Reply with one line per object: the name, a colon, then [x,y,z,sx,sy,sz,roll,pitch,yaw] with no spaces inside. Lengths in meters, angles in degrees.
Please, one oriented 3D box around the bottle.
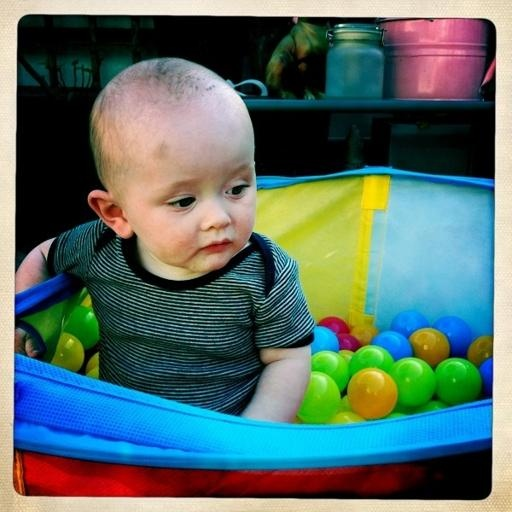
bottle: [0.196,-0.388,1.083,0.137,0.156,0.140,2,19,7]
